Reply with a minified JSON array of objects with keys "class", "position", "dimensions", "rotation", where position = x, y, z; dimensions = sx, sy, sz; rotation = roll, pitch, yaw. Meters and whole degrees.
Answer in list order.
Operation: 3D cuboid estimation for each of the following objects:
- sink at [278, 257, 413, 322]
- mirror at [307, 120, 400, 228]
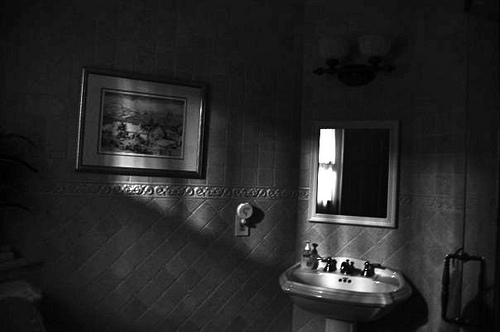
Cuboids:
[{"class":"sink","position":[0.685,0.933,2.933],"dimensions":[0.903,0.455,0.544],"rotation":[5,0,22]},{"class":"mirror","position":[0.852,0.069,3.163],"dimensions":[0.856,0.982,0.045],"rotation":[1,-4,27]}]
